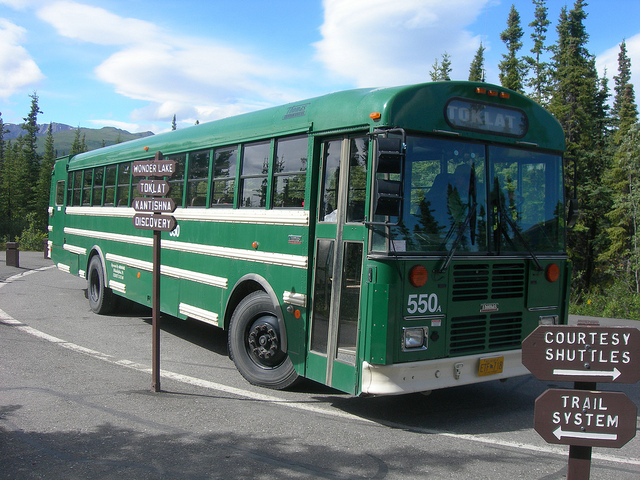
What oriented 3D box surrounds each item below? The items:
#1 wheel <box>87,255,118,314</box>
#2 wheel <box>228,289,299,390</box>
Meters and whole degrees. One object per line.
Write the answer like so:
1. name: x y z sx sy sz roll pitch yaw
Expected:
1. wheel: -5.234 1.061 13.439 0.482 1.493 1.471 1 3 -37
2. wheel: -0.748 1.415 7.823 1.402 1.525 0.389 -2 0 39
